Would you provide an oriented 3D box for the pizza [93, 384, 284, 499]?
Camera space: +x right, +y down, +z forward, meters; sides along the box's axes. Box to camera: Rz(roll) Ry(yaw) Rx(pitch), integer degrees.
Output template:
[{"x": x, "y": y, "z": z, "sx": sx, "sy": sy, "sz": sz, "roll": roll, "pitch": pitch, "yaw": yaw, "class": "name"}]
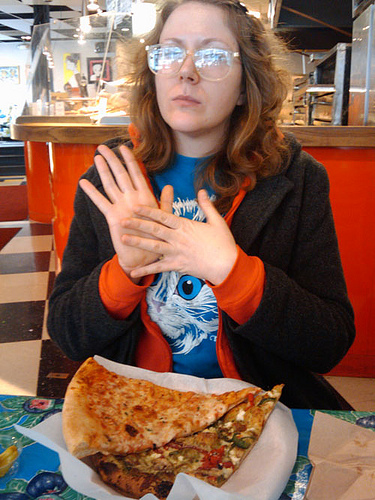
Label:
[{"x": 0.025, "y": 0.207, "z": 0.440, "sx": 0.240, "sy": 0.047, "sz": 0.094, "roll": -4, "pitch": 9, "yaw": -29, "class": "pizza"}]
